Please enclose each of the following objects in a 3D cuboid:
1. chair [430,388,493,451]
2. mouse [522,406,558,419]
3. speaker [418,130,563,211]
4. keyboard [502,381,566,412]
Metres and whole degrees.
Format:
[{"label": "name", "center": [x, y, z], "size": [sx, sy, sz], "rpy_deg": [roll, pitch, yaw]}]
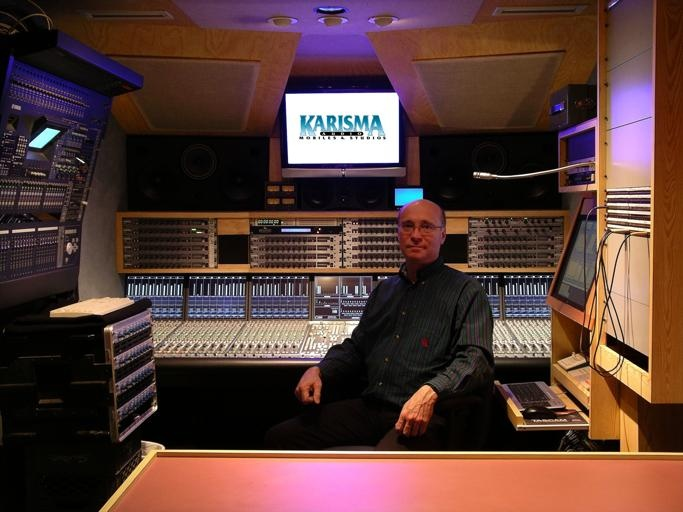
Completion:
[{"label": "chair", "center": [0.615, 0.832, 2.734], "size": [0.273, 0.313, 0.263], "rpy_deg": [0, -2, 10]}, {"label": "mouse", "center": [1.086, 0.861, 2.903], "size": [0.129, 0.035, 0.079], "rpy_deg": [0, 11, 0]}, {"label": "speaker", "center": [1.224, -0.675, 4.198], "size": [0.710, 0.429, 0.212], "rpy_deg": [0, -2, 3]}, {"label": "keyboard", "center": [1.106, 0.828, 3.081], "size": [0.298, 0.056, 0.383], "rpy_deg": [-1, 7, -3]}]
